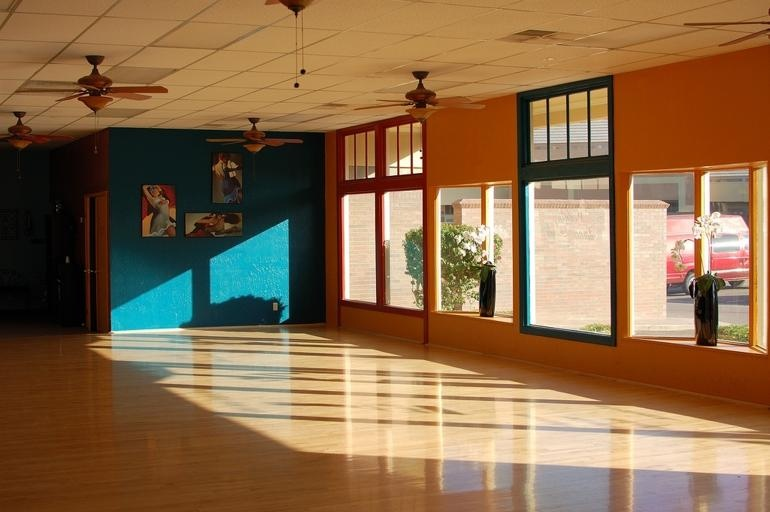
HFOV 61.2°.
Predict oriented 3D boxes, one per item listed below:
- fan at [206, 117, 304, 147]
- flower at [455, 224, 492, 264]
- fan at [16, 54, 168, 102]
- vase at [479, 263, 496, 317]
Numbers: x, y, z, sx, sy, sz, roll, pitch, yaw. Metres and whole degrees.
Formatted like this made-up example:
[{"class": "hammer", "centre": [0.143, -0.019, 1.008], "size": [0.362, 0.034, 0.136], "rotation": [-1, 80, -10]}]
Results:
[{"class": "fan", "centre": [-2.241, -1.974, 10.660], "size": [1.650, 0.449, 1.520], "rotation": [-1, 3, -16]}, {"class": "flower", "centre": [1.457, -0.178, 10.435], "size": [0.627, 0.665, 0.672], "rotation": [2, -9, -24]}, {"class": "fan", "centre": [-3.078, -1.904, 6.982], "size": [1.335, 0.438, 1.251], "rotation": [4, 24, 0]}, {"class": "vase", "centre": [1.579, 0.514, 10.032], "size": [0.225, 0.828, 0.133], "rotation": [2, 2, -2]}]
